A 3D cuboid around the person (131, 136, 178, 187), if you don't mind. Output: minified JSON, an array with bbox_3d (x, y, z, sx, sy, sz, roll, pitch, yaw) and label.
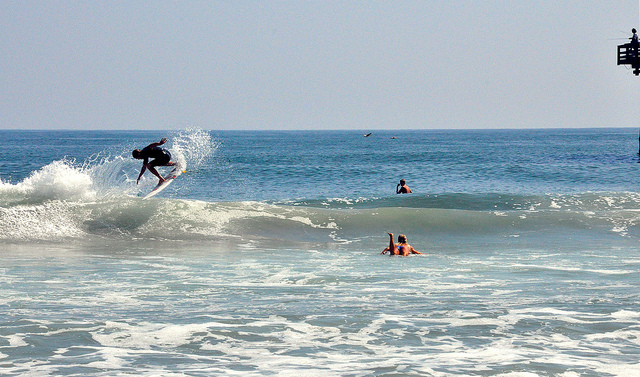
[{"bbox_3d":[-6.656,-1.088,37.691,1.905,0.982,1.867,0,-90,16],"label":"person"}]
